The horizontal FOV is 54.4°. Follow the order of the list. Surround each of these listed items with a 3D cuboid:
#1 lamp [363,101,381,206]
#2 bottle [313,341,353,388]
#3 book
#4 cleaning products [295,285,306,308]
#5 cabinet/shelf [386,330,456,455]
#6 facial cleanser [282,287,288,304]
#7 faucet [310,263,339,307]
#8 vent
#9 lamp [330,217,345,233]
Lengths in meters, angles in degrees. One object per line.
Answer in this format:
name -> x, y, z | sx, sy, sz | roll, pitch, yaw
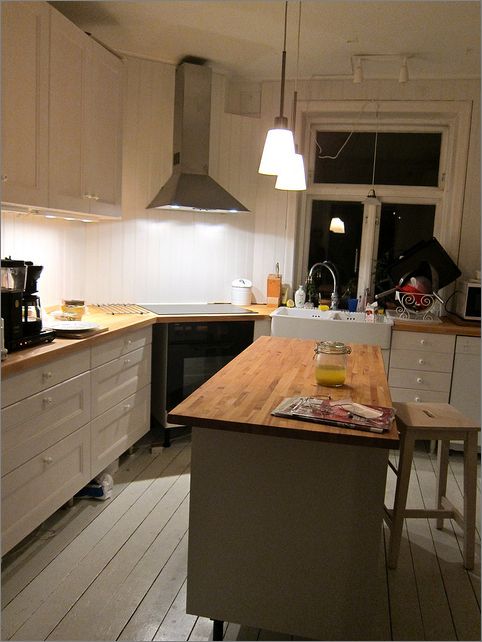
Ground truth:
lamp -> 1.045, -1.285, 3.661 | 0.115, 0.726, 0.232 | 5, 6, 26
bottle -> 0.308, 0.150, 1.663 | 0.150, 0.163, 0.111 | 0, 2, -38
book -> 0.262, 0.246, 1.296 | 0.310, 0.021, 0.244 | 5, 6, 24
cleaning products -> 0.479, -0.204, 3.803 | 0.092, 0.176, 0.250 | 3, 5, 7
cabinet/shelf -> 1.202, 0.334, 3.150 | 0.419, 0.838, 0.462 | 1, 11, 2
facial cleanser -> 0.360, -0.209, 3.855 | 0.048, 0.145, 0.045 | 4, 6, 16
faucet -> 0.653, -0.295, 3.709 | 0.257, 0.385, 0.437 | 3, 5, 9
vent -> -0.327, -1.334, 3.373 | 0.557, 1.077, 0.435 | -1, 6, -31
lamp -> 0.799, -0.794, 3.851 | 0.122, 0.130, 0.067 | 0, 0, 15
